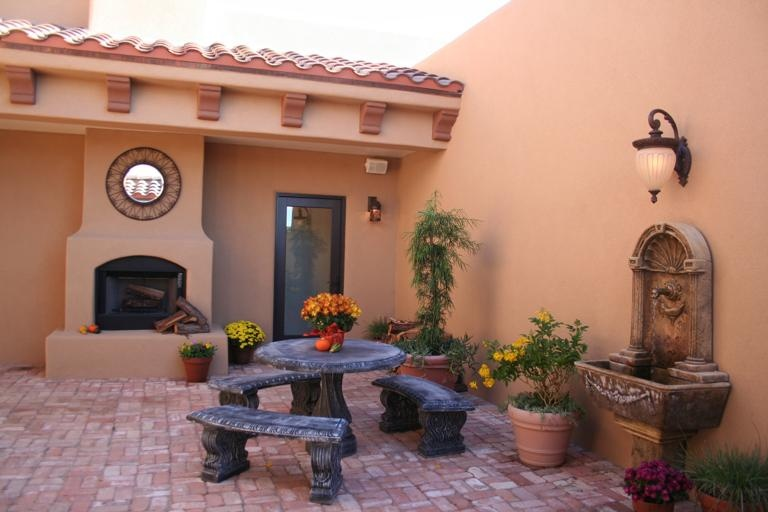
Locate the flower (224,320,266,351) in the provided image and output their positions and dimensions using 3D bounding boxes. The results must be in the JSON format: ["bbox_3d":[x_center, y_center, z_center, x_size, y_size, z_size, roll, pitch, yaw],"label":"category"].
[{"bbox_3d":[-2.230,1.255,9.043,0.484,0.324,0.518,7,8,-34],"label":"flower"}]

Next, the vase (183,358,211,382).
[{"bbox_3d":[-2.644,1.583,8.003,0.380,0.275,0.368,1,-7,-3],"label":"vase"}]

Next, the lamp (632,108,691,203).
[{"bbox_3d":[2.564,-0.940,5.206,0.526,0.823,0.375,-1,1,-18],"label":"lamp"}]

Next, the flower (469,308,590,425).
[{"bbox_3d":[1.668,1.154,6.027,1.326,1.123,1.103,-8,-1,23],"label":"flower"}]

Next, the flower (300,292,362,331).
[{"bbox_3d":[-0.582,0.639,6.085,0.613,0.523,0.539,0,-13,-8],"label":"flower"}]

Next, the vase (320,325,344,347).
[{"bbox_3d":[-0.557,0.840,5.987,0.246,0.165,0.216,1,-1,-6],"label":"vase"}]

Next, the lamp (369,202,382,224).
[{"bbox_3d":[-0.149,-0.788,9.993,0.270,0.388,0.146,-1,9,-19],"label":"lamp"}]

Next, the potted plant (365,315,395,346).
[{"bbox_3d":[-0.078,1.264,9.769,0.468,0.466,0.429,6,-9,-43],"label":"potted plant"}]

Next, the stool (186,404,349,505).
[{"bbox_3d":[-1.076,1.823,5.308,1.433,0.664,0.420,4,9,14],"label":"stool"}]

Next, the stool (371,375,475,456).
[{"bbox_3d":[0.431,1.792,6.445,0.656,0.646,1.391,2,-2,-22],"label":"stool"}]

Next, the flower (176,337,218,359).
[{"bbox_3d":[-2.685,1.351,8.088,0.511,0.274,0.427,-1,8,-19],"label":"flower"}]

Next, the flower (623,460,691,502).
[{"bbox_3d":[2.296,1.865,4.743,0.431,0.264,0.393,-2,5,-16],"label":"flower"}]

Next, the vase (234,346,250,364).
[{"bbox_3d":[-2.277,1.581,9.020,0.291,0.218,0.282,1,-5,-6],"label":"vase"}]

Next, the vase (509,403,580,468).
[{"bbox_3d":[1.669,1.903,5.992,0.722,0.499,0.715,-5,-13,35],"label":"vase"}]
